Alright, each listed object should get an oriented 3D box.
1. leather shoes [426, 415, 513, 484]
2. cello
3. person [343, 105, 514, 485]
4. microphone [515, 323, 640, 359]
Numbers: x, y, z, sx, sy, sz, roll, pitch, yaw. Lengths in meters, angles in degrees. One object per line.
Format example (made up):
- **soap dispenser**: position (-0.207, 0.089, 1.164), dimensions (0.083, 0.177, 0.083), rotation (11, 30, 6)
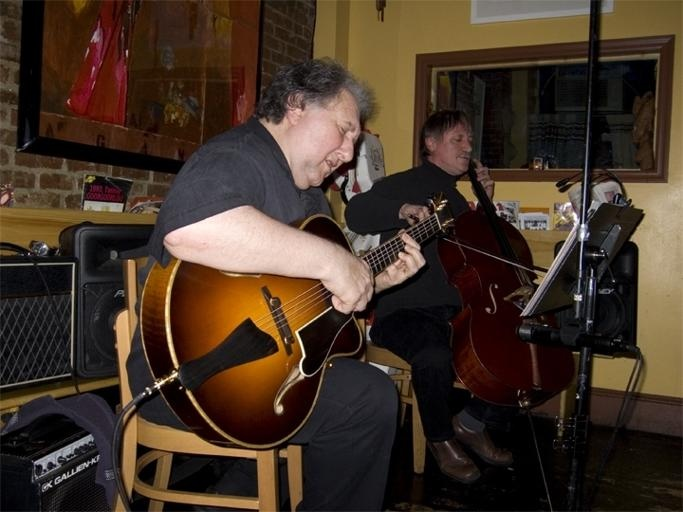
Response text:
- **leather shoes**: position (0.641, 1.004, 2.911), dimensions (0.408, 0.157, 0.248), rotation (27, -2, 36)
- **cello**: position (0.744, 0.112, 2.874), dimensions (0.510, 1.305, 0.216), rotation (14, -41, -32)
- **person**: position (0.390, 0.101, 3.129), dimensions (0.301, 2.057, 0.820), rotation (-27, -40, 34)
- **microphone**: position (0.851, 0.302, 2.010), dimensions (0.396, 0.110, 0.178), rotation (7, 8, 30)
